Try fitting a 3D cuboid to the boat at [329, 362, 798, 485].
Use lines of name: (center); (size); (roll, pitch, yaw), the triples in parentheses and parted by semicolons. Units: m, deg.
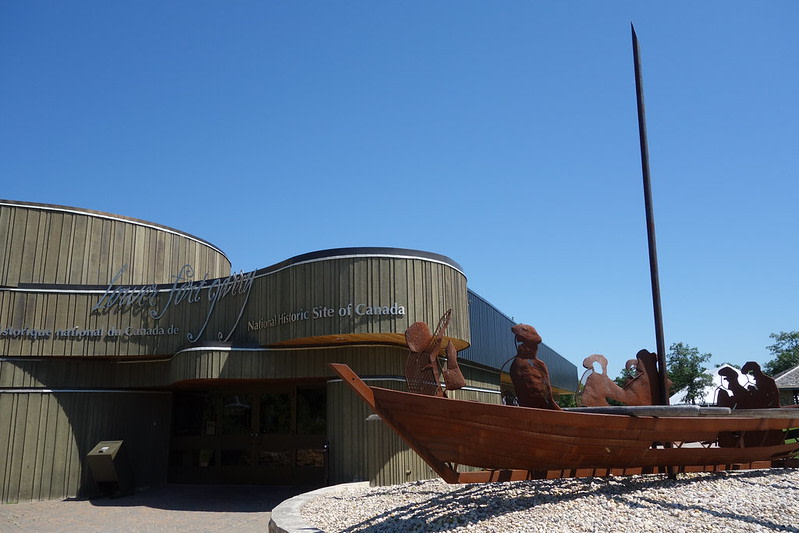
boat: (3.476, 3.219, 12.177); (9.552, 3.111, 1.691); (-1, -8, -22)
